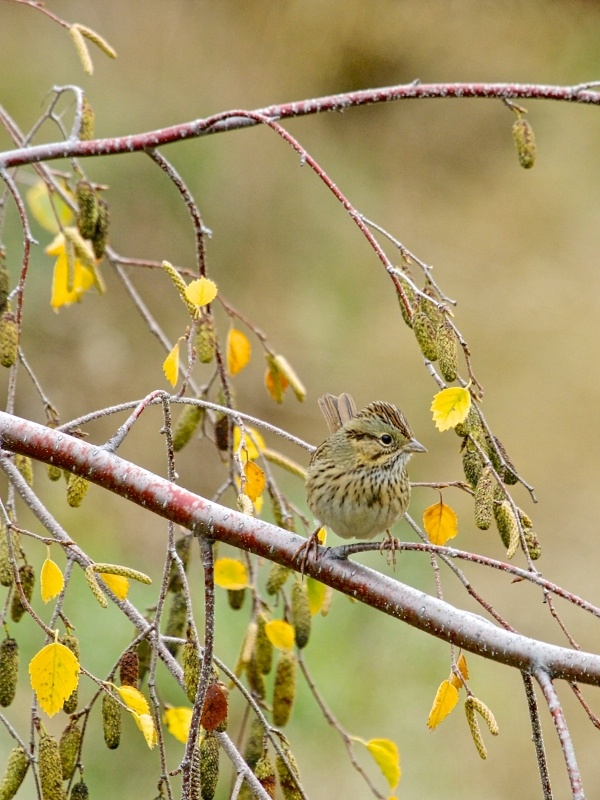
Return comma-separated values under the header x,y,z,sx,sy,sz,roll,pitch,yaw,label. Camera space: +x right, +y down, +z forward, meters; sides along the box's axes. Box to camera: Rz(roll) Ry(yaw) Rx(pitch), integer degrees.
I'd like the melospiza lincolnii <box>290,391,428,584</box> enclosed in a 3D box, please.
x,y,z,sx,sy,sz,roll,pitch,yaw,label
0.157,0.208,3.235,0.299,0.561,0.555,1,-73,-17,melospiza lincolnii
